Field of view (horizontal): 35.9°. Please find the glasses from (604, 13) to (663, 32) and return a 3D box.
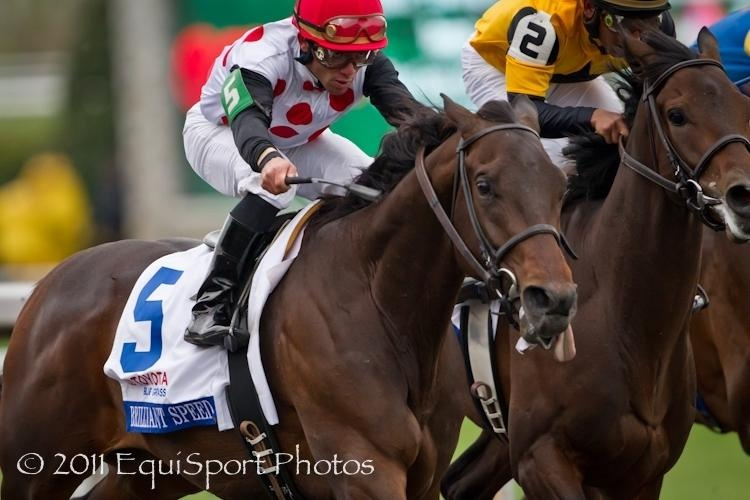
[{"bbox_3d":[1.147,-1.014,5.087,0.140,0.063,0.182,0,6,-18],"label":"glasses"}]
